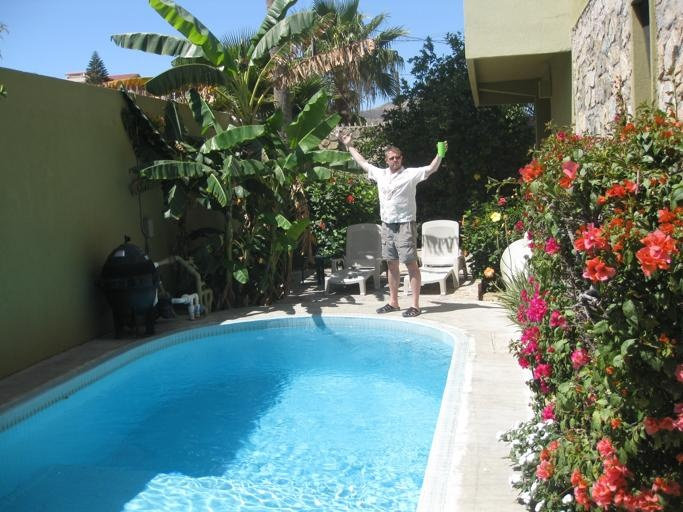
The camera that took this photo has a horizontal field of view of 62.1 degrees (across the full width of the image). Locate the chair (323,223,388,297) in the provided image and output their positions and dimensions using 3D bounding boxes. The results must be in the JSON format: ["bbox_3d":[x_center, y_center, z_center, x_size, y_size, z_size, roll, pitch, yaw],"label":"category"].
[{"bbox_3d":[0.257,-0.009,9.688,0.793,1.208,1.578,-1,2,16],"label":"chair"}]

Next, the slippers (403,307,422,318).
[{"bbox_3d":[0.928,0.725,7.475,0.269,0.103,0.246,-4,10,-3],"label":"slippers"}]

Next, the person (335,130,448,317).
[{"bbox_3d":[0.749,-0.433,7.521,1.287,2.425,0.464,3,10,30],"label":"person"}]

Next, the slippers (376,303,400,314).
[{"bbox_3d":[0.631,0.713,7.789,0.325,0.140,0.123,0,-2,-34],"label":"slippers"}]
